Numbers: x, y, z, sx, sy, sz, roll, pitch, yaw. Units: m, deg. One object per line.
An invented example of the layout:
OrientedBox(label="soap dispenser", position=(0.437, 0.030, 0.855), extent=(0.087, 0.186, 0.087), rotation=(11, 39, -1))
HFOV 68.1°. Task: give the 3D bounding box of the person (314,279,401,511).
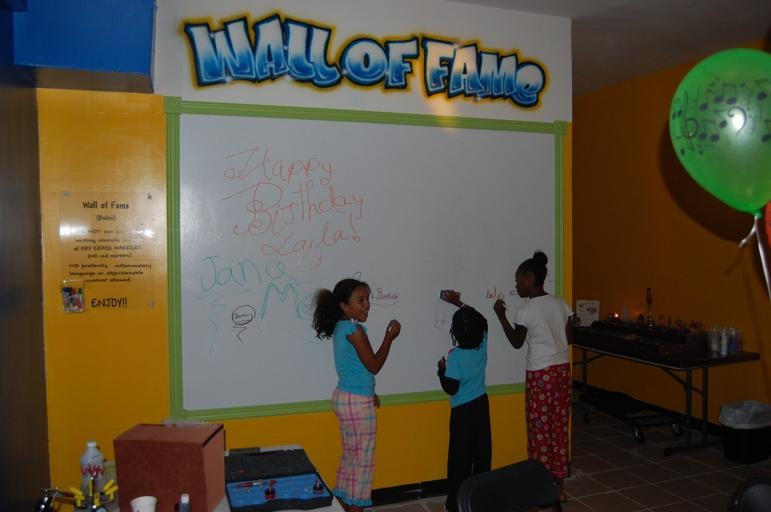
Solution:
OrientedBox(label="person", position=(-0.234, 1.174, 4.561), extent=(0.484, 2.010, 0.553), rotation=(-3, 6, -34))

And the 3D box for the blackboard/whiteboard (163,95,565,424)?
OrientedBox(label="blackboard/whiteboard", position=(-0.317, 0.047, 4.770), extent=(2.804, 2.187, 0.102), rotation=(-1, 0, -15))

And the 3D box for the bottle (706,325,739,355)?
OrientedBox(label="bottle", position=(3.493, 0.860, 5.928), extent=(0.274, 0.275, 0.271), rotation=(-4, -9, 27))
